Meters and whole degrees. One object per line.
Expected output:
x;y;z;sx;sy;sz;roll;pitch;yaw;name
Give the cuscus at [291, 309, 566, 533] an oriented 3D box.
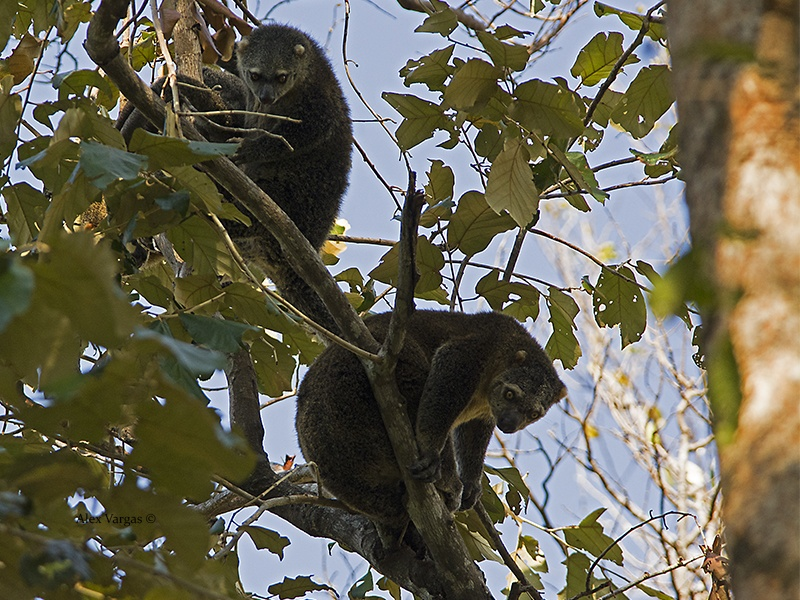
0.126;0.477;7.018;1.106;0.945;0.715;-4;-26;10;cuscus
